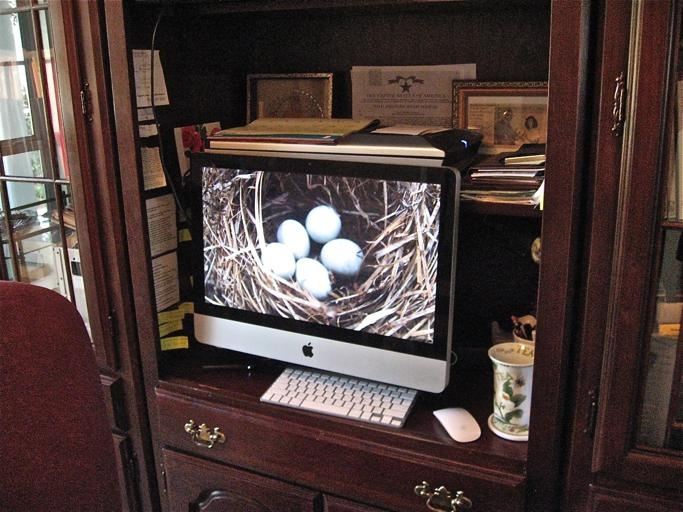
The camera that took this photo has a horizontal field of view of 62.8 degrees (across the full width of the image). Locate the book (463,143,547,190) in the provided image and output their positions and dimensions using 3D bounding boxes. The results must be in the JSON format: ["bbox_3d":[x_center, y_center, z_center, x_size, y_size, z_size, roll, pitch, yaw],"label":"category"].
[{"bbox_3d":[0.384,-0.200,1.328,0.164,0.048,0.126,0,22,23],"label":"book"}]

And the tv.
[{"bbox_3d":[-0.025,0.033,1.411,0.618,0.435,0.063,7,12,19],"label":"tv"}]

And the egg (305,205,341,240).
[{"bbox_3d":[-0.048,-0.078,1.432,0.091,0.102,0.093,8,10,41],"label":"egg"}]

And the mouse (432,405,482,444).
[{"bbox_3d":[0.286,0.398,1.337,0.088,0.036,0.114,-6,18,-22],"label":"mouse"}]

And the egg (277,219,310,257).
[{"bbox_3d":[-0.108,-0.051,1.476,0.073,0.097,0.060,-27,-2,20],"label":"egg"}]

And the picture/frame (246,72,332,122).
[{"bbox_3d":[-0.148,-0.483,1.704,0.205,0.136,0.023,5,13,20],"label":"picture/frame"}]

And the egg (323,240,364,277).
[{"bbox_3d":[0.006,0.004,1.439,0.101,0.075,0.077,27,6,27],"label":"egg"}]

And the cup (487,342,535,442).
[{"bbox_3d":[0.391,0.313,1.313,0.103,0.207,0.184,6,18,16],"label":"cup"}]
